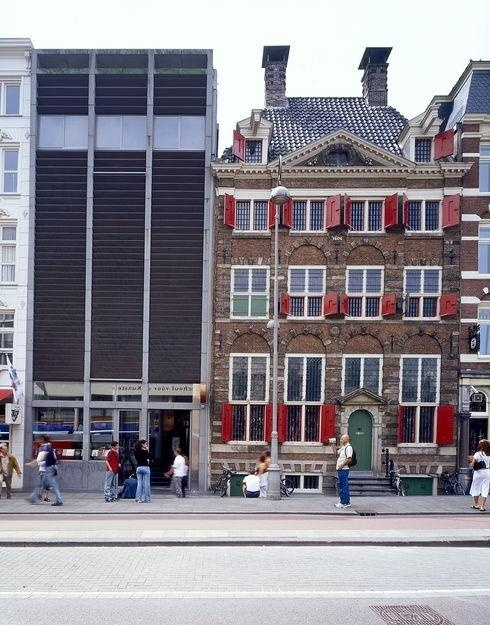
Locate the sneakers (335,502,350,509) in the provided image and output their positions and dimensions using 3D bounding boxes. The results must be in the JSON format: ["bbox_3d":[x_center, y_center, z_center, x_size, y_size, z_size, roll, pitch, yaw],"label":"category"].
[{"bbox_3d":[2.581,5.043,34.114,0.353,0.172,0.135,5,-12,-1],"label":"sneakers"}]

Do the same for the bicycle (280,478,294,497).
[{"bbox_3d":[1.293,5.244,38.775,0.196,0.554,0.556,-4,1,-33],"label":"bicycle"}]

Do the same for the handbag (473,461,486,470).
[{"bbox_3d":[5.986,3.922,33.446,0.323,0.294,0.185,1,8,13],"label":"handbag"}]

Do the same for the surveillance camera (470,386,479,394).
[{"bbox_3d":[7.060,2.395,40.367,0.218,0.215,0.055,-4,8,-19],"label":"surveillance camera"}]

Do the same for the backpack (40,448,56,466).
[{"bbox_3d":[-5.050,3.829,34.615,0.443,0.563,0.218,-9,11,-43],"label":"backpack"}]

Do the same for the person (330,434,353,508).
[{"bbox_3d":[2.641,4.200,34.368,0.491,2.077,1.219,-1,8,4],"label":"person"}]

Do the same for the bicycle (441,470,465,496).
[{"bbox_3d":[6.252,5.251,39.781,0.399,0.532,0.810,6,-29,-26],"label":"bicycle"}]

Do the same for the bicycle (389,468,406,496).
[{"bbox_3d":[4.646,5.251,39.496,0.381,0.501,0.856,-5,-37,6],"label":"bicycle"}]

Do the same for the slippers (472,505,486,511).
[{"bbox_3d":[6.054,5.072,33.780,0.124,0.151,0.376,0,3,-19],"label":"slippers"}]
